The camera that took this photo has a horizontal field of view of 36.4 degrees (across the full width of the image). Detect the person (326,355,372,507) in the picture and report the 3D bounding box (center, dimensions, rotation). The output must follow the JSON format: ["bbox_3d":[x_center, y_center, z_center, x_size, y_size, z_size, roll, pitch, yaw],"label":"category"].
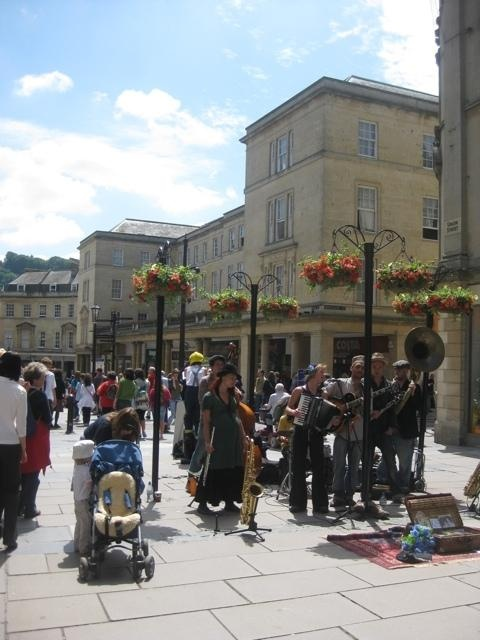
[{"bbox_3d":[1.244,1.299,8.457,0.242,1.552,0.618,-1,24,-32],"label":"person"}]

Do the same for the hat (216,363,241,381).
[{"bbox_3d":[-0.090,0.571,7.922,0.206,0.099,0.190,1,-1,-27],"label":"hat"}]

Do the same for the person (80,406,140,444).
[{"bbox_3d":[-1.170,0.982,6.703,0.260,0.333,0.824,12,-12,-22],"label":"person"}]

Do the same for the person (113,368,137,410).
[{"bbox_3d":[-2.338,1.453,15.107,0.406,0.834,0.909,2,-5,-7],"label":"person"}]

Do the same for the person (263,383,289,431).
[{"bbox_3d":[0.663,1.843,14.971,0.419,1.057,0.358,0,23,-38],"label":"person"}]

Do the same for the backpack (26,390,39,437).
[{"bbox_3d":[-2.127,0.983,7.497,0.097,0.446,0.347,3,-5,-16],"label":"backpack"}]

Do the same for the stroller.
[{"bbox_3d":[-0.964,1.504,5.917,0.597,0.990,0.859,2,-5,-8],"label":"stroller"}]

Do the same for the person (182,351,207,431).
[{"bbox_3d":[-0.715,1.178,11.636,0.377,1.304,0.385,9,2,10],"label":"person"}]

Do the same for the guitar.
[{"bbox_3d":[1.333,1.041,8.358,0.658,0.255,0.081,-16,-15,-19],"label":"guitar"}]

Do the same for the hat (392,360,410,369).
[{"bbox_3d":[1.951,0.557,8.932,0.256,0.088,0.181,0,-2,18],"label":"hat"}]

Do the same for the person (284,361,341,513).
[{"bbox_3d":[0.801,1.324,8.115,0.571,1.632,0.508,1,-5,3],"label":"person"}]

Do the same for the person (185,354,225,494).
[{"bbox_3d":[-0.476,0.972,8.859,0.322,1.094,0.360,-5,6,8],"label":"person"}]

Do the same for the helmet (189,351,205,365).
[{"bbox_3d":[-0.681,0.640,11.664,0.229,0.208,0.330,-2,5,3],"label":"helmet"}]

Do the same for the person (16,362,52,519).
[{"bbox_3d":[-2.095,1.281,7.717,0.454,1.577,0.468,3,-5,-29],"label":"person"}]
